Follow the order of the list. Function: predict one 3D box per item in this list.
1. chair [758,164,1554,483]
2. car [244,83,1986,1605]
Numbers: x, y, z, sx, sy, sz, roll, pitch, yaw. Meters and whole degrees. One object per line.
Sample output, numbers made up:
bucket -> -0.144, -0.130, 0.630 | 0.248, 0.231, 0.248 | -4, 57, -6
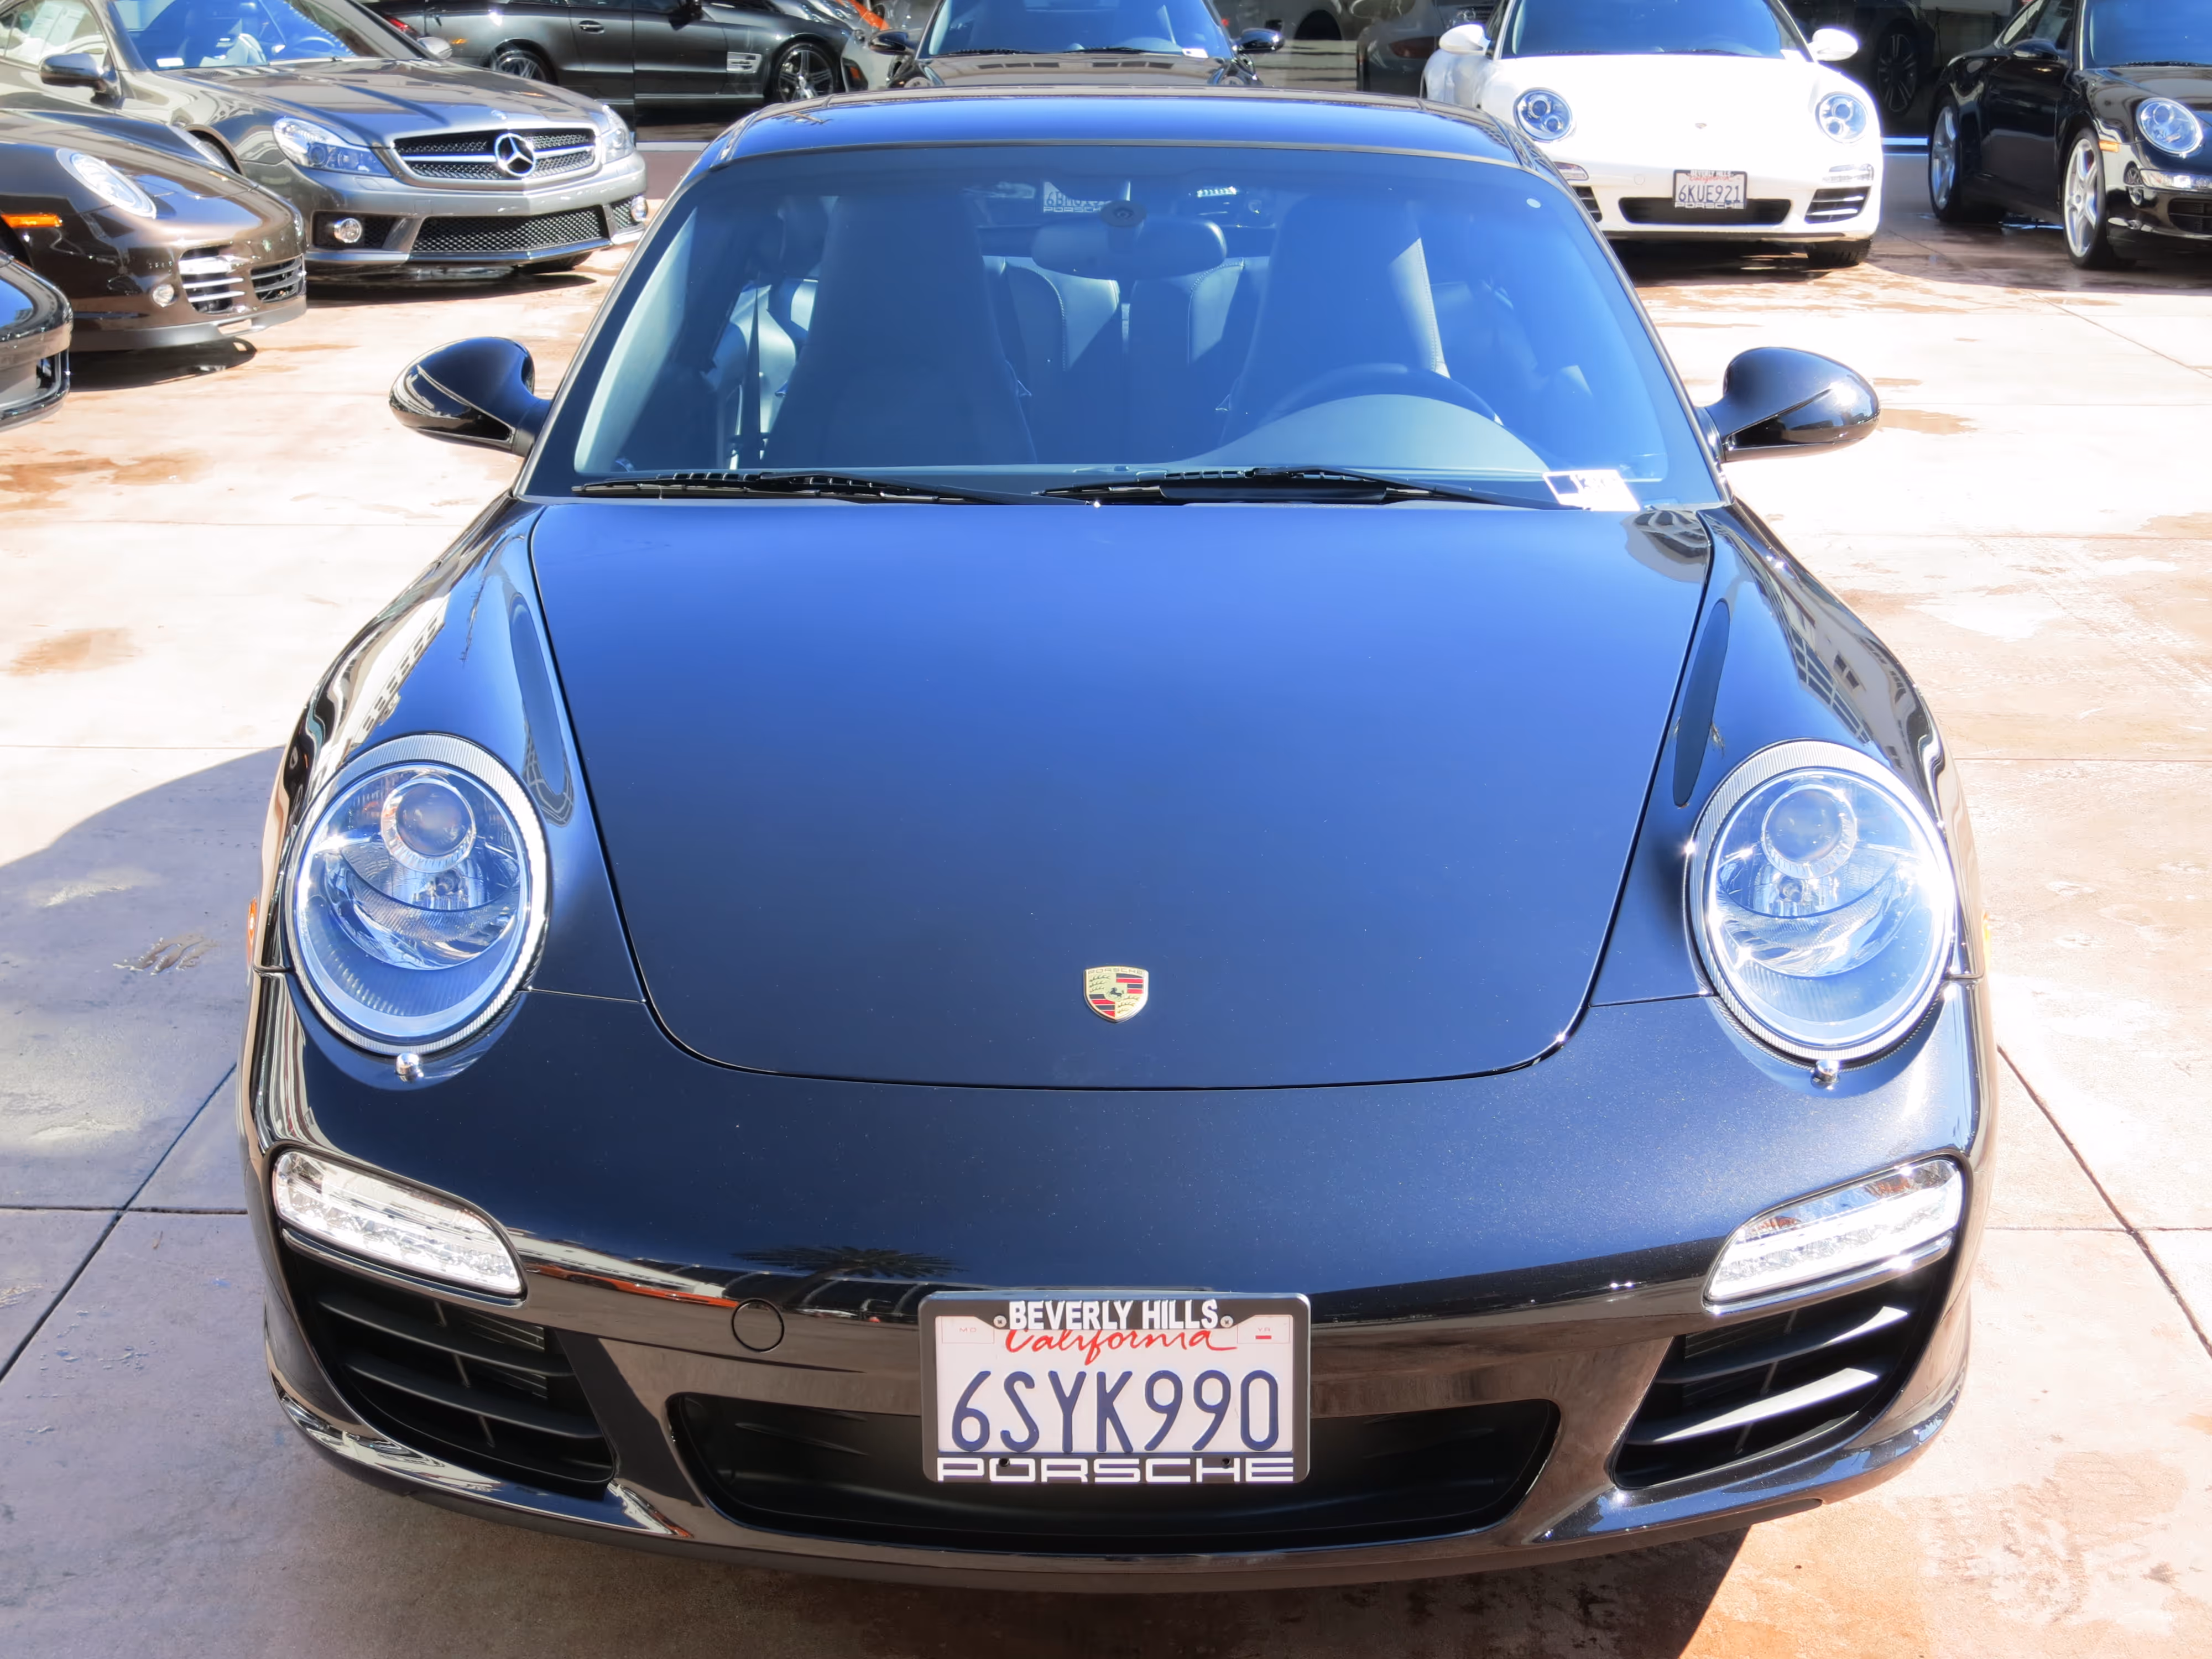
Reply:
chair -> -0.039, -0.819, 2.895 | 1.537, 0.459, 0.471 | -1, -10, 1
car -> 0.034, -0.102, 2.459 | 1.422, 0.790, 2.616 | 0, 31, 0
